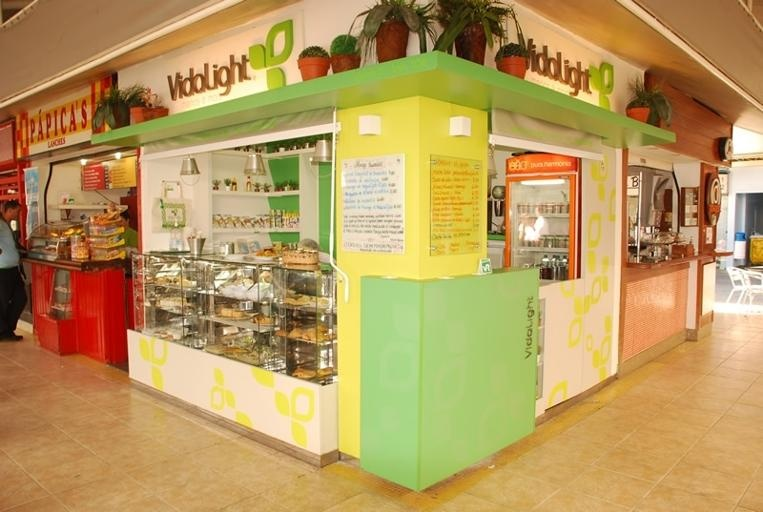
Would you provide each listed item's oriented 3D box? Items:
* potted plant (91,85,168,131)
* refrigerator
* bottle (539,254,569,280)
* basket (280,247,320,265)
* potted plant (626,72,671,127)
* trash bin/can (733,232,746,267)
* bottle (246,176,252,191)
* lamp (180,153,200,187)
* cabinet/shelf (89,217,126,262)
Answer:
[{"bbox_3d":[-3.292,-1.951,6.551,0.912,0.593,0.802,5,13,42],"label":"potted plant"},{"bbox_3d":[2.184,-0.578,6.918,0.582,1.685,1.633,-1,10,-12],"label":"refrigerator"},{"bbox_3d":[2.352,0.157,6.781,0.357,0.330,0.356,1,4,36],"label":"bottle"},{"bbox_3d":[-0.845,-0.002,5.392,0.309,0.116,0.196,4,5,36],"label":"basket"},{"bbox_3d":[3.599,-2.096,6.743,0.527,0.707,1.155,5,11,26],"label":"potted plant"},{"bbox_3d":[12.721,-0.227,17.826,0.719,1.158,0.374,-9,13,-44],"label":"trash bin/can"},{"bbox_3d":[-2.440,-1.337,9.318,0.102,0.255,0.354,-2,10,-15],"label":"bottle"},{"bbox_3d":[-2.681,-1.195,7.062,0.273,0.435,0.697,-3,11,-19],"label":"lamp"},{"bbox_3d":[-4.094,-0.233,7.437,0.686,0.643,0.440,1,10,1],"label":"cabinet/shelf"}]
